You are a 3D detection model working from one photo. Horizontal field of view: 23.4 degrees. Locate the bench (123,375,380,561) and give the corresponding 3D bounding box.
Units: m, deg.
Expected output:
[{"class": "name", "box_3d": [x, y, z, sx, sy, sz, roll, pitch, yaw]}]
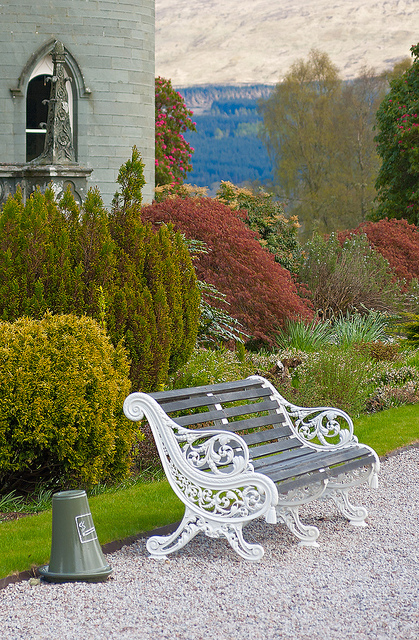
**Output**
[{"class": "bench", "box_3d": [0.300, 0.883, 6.238, 1.003, 0.923, 1.628, 2, 2, 31]}]
